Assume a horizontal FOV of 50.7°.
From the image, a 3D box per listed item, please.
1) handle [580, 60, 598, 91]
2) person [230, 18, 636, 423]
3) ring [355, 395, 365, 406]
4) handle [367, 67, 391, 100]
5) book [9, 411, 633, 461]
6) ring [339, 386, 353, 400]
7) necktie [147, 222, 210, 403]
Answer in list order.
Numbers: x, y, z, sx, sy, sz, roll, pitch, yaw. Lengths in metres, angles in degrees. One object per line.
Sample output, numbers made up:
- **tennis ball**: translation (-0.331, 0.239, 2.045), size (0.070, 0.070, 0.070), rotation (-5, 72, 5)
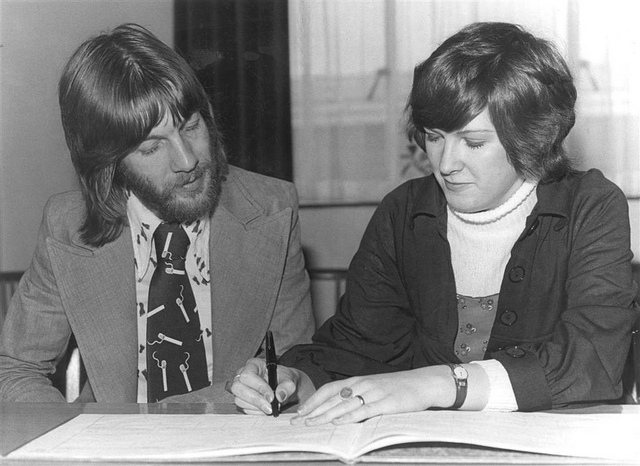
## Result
- **handle**: translation (0.736, -0.433, 1.863), size (0.043, 0.081, 0.029), rotation (-26, -3, 6)
- **person**: translation (0.275, -0.040, 1.929), size (1.083, 1.130, 0.899), rotation (-6, 7, -39)
- **ring**: translation (0.089, 0.354, 1.436), size (0.011, 0.013, 0.025), rotation (-5, 7, -26)
- **handle**: translation (0.185, -0.463, 2.093), size (0.024, 0.090, 0.089), rotation (-7, 8, -39)
- **book**: translation (0.035, 0.382, 1.306), size (1.174, 0.042, 0.253), rotation (-1, 6, 6)
- **ring**: translation (0.060, 0.343, 1.459), size (0.029, 0.020, 0.042), rotation (2, 7, 28)
- **necktie**: translation (-0.414, 0.219, 1.934), size (0.172, 0.494, 0.104), rotation (-3, 6, -13)
